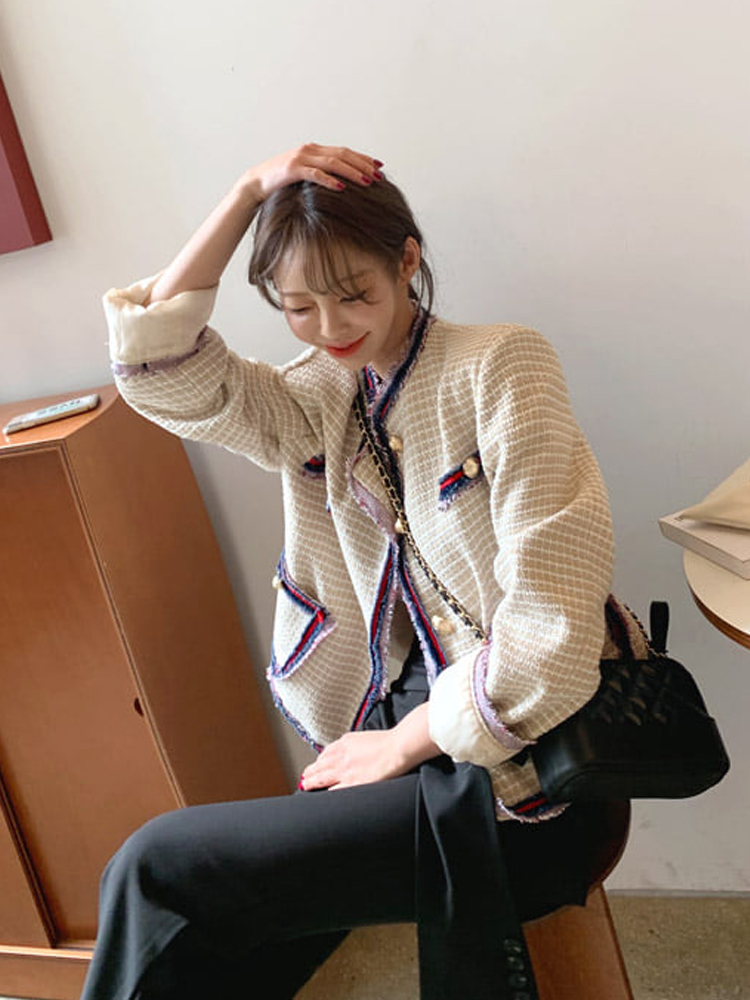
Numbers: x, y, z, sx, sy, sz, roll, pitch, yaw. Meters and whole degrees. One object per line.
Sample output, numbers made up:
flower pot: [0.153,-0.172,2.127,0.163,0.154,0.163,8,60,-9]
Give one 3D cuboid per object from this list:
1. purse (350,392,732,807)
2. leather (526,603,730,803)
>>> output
purse: [0.230,0.056,1.243,0.289,0.685,0.279,-26,19,24]
leather: [0.257,0.241,0.994,0.186,0.112,0.144,-4,21,6]
